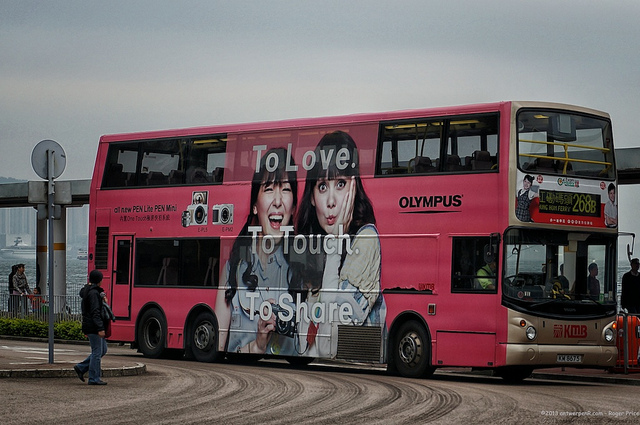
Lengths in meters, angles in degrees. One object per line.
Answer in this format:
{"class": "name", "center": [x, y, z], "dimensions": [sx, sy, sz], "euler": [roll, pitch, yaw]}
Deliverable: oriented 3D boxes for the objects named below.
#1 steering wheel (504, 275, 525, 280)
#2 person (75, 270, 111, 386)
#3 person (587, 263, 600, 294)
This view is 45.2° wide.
{"class": "steering wheel", "center": [4.454, 1.503, 17.800], "dimensions": [0.438, 0.100, 0.106], "euler": [2, -8, -15]}
{"class": "person", "center": [-4.960, 2.571, 17.046], "dimensions": [0.670, 2.467, 1.357], "euler": [2, -7, -18]}
{"class": "person", "center": [6.431, 1.575, 18.375], "dimensions": [0.239, 0.816, 0.554], "euler": [-4, 9, 1]}
